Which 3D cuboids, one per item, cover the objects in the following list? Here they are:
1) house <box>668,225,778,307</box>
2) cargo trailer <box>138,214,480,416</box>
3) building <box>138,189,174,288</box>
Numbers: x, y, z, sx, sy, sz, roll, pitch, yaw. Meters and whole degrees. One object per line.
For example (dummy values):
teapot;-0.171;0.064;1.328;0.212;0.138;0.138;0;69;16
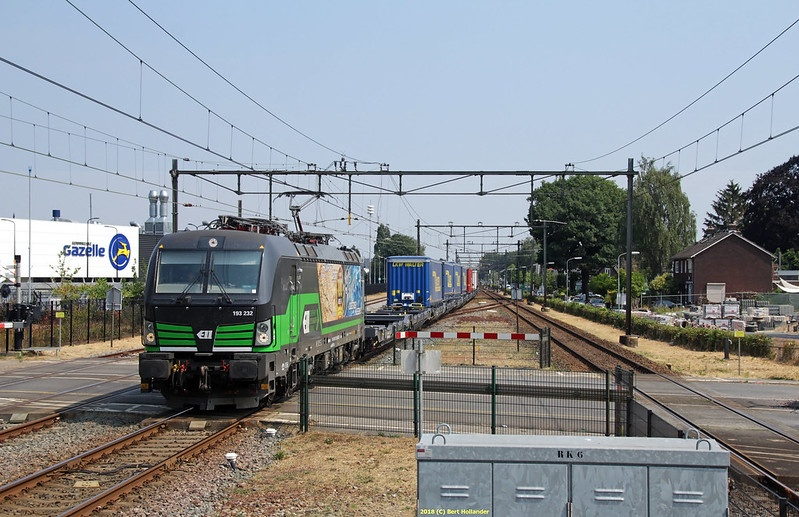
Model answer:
house;32.124;0.869;75.603;8.820;7.299;5.428;-2;-3;24
cargo trailer;-4.789;2.001;28.863;4.070;6.271;14.466;-1;-2;16
building;-30.650;-2.745;96.685;4.799;12.504;4.755;4;4;35
